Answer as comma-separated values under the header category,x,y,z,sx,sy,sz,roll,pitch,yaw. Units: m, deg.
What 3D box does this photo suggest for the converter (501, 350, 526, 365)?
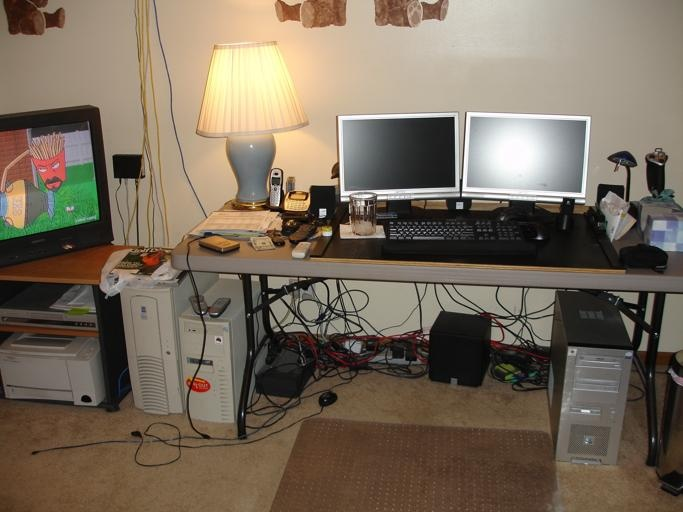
category,x,y,z,sx,sy,sz,roll,pitch,yaw
converter,0.964,0.573,3.247,0.092,0.032,0.068,13,22,23

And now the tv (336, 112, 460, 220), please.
category,x,y,z,sx,sy,sz,roll,pitch,yaw
tv,0.274,-0.446,2.795,0.490,0.400,0.149,-1,7,-1

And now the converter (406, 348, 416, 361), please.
category,x,y,z,sx,sy,sz,roll,pitch,yaw
converter,0.394,0.565,3.337,0.052,0.014,0.061,1,54,9

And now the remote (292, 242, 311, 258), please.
category,x,y,z,sx,sy,sz,roll,pitch,yaw
remote,-0.177,-0.026,2.502,0.050,0.024,0.110,3,29,8

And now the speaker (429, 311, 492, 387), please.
category,x,y,z,sx,sy,sz,roll,pitch,yaw
speaker,0.656,0.481,3.237,0.327,0.365,0.349,8,36,20

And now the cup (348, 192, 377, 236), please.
category,x,y,z,sx,sy,sz,roll,pitch,yaw
cup,0.099,-0.205,2.682,0.125,0.196,0.121,-2,25,1

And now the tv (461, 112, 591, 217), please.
category,x,y,z,sx,sy,sz,roll,pitch,yaw
tv,0.875,-0.444,2.754,0.477,0.377,0.058,3,8,7

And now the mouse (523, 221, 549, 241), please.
category,x,y,z,sx,sy,sz,roll,pitch,yaw
mouse,0.857,-0.110,2.584,0.072,0.026,0.106,-1,26,10

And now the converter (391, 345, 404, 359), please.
category,x,y,z,sx,sy,sz,roll,pitch,yaw
converter,0.323,0.556,3.397,0.094,0.054,0.097,1,51,2

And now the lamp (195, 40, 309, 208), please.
category,x,y,z,sx,sy,sz,roll,pitch,yaw
lamp,-0.487,-0.682,3.062,0.544,0.811,0.579,-9,17,-24
